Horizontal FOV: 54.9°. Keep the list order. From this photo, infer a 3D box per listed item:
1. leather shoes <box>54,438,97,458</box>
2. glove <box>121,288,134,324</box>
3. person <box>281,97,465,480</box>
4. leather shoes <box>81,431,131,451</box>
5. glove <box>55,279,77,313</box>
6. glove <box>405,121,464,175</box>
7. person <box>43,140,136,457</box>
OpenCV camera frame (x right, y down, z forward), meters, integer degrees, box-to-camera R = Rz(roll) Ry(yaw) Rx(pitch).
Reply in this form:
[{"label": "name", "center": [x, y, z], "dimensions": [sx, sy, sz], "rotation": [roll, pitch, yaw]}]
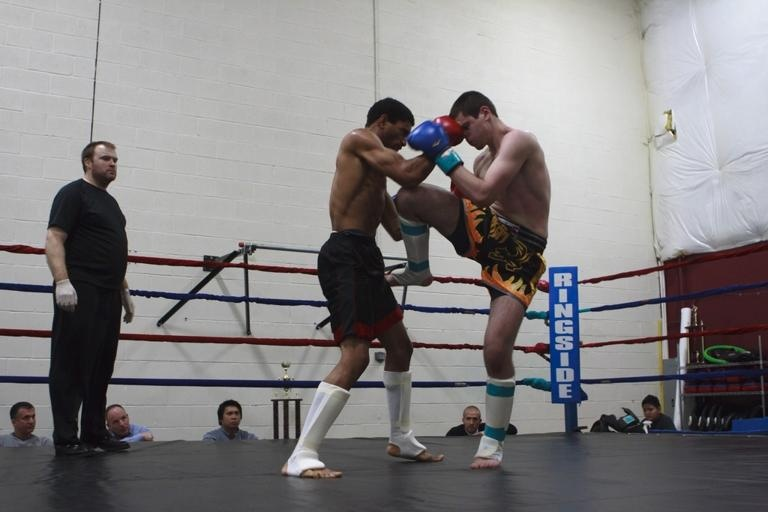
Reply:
[{"label": "leather shoes", "center": [-1.907, 1.190, 4.581], "dimensions": [0.277, 0.117, 0.093], "rotation": [-1, -7, 6]}, {"label": "glove", "center": [-1.730, 0.361, 5.084], "dimensions": [0.098, 0.118, 0.313], "rotation": [-7, -39, -15]}, {"label": "person", "center": [-0.057, 0.244, 4.214], "dimensions": [0.558, 1.909, 0.802], "rotation": [-4, -9, 39]}, {"label": "leather shoes", "center": [-1.768, 1.184, 4.739], "dimensions": [0.313, 0.136, 0.112], "rotation": [-1, -6, -9]}, {"label": "glove", "center": [-1.955, 0.238, 4.576], "dimensions": [0.130, 0.192, 0.093], "rotation": [4, -7, -25]}, {"label": "glove", "center": [0.310, -0.657, 4.254], "dimensions": [0.259, 0.165, 0.345], "rotation": [35, -9, -31]}, {"label": "person", "center": [-1.877, 0.365, 4.719], "dimensions": [0.557, 1.735, 0.283], "rotation": [5, -8, -31]}]
